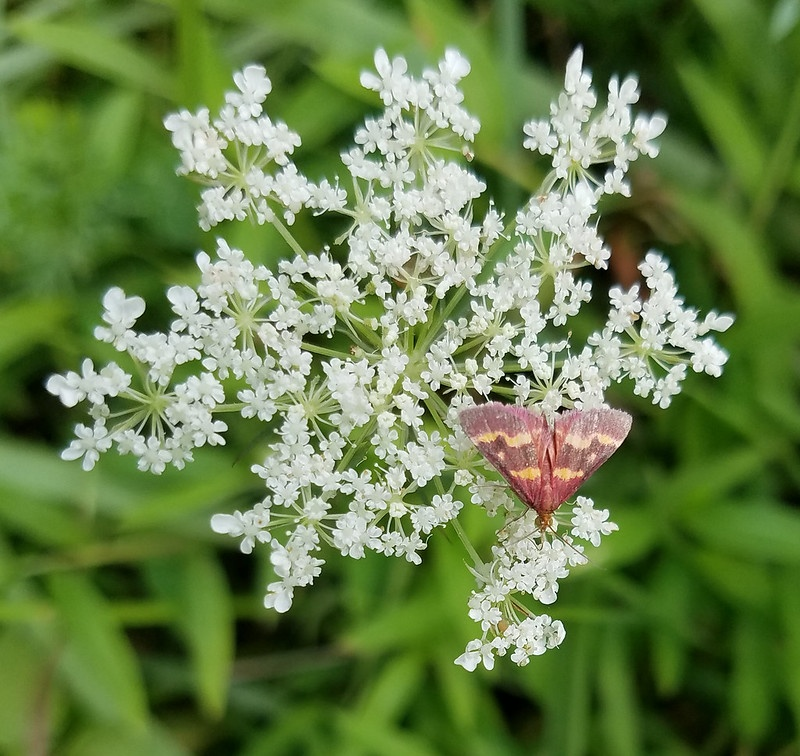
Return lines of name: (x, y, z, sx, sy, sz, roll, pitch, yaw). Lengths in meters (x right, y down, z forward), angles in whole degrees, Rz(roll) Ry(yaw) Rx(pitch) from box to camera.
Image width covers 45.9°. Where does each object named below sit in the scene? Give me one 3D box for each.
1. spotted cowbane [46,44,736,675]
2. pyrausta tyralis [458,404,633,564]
spotted cowbane: (0.015, -0.050, 1.703, 1.113, 0.607, 1.118, -17, 83, -2)
pyrausta tyralis: (0.221, 0.122, 1.425, 0.263, 0.078, 0.155, 1, 82, 1)
